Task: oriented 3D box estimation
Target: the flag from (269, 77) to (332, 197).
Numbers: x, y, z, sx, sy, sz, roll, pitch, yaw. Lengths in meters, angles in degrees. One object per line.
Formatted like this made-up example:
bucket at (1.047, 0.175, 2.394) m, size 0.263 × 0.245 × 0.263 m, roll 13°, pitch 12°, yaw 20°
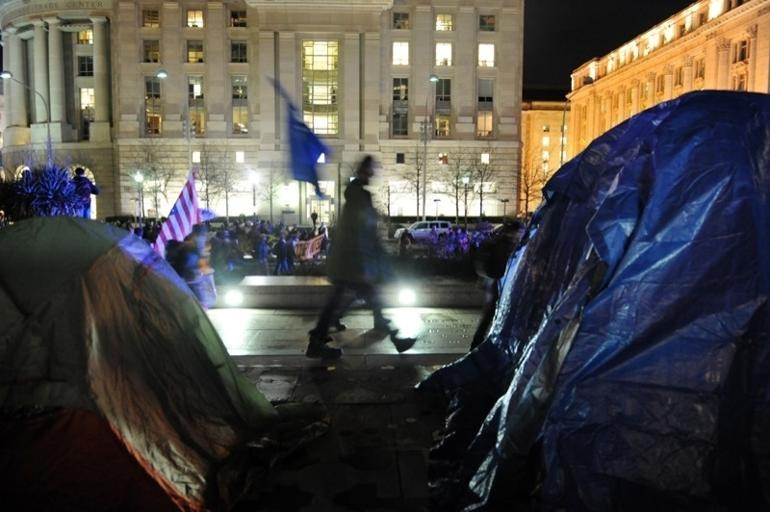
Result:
flag at (-1.222, -1.618, 11.377) m, size 0.822 × 1.691 × 2.004 m, roll 2°, pitch 13°, yaw -9°

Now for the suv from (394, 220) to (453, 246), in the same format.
suv at (1.801, -1.215, 39.484) m, size 2.768 × 1.180 × 1.332 m, roll 1°, pitch 6°, yaw -6°
